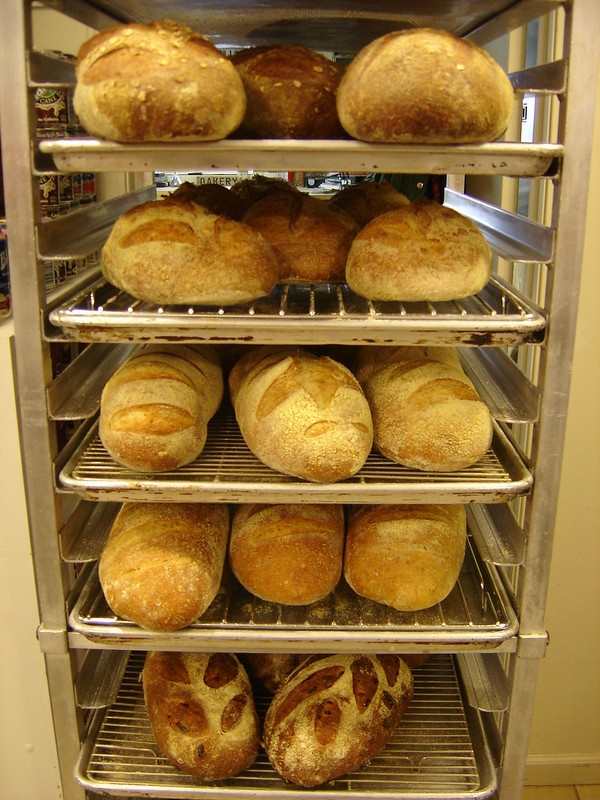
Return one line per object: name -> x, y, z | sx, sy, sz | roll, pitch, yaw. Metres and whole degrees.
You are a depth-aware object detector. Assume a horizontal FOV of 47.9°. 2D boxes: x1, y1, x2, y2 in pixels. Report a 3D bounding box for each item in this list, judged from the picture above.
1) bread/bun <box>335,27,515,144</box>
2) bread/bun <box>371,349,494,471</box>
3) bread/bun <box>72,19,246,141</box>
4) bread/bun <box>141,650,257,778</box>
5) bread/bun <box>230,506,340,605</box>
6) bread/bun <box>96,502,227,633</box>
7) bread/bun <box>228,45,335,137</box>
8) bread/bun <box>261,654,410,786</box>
bread/bun -> 0.172, -0.447, 0.948 | 0.246, 0.134, 0.245 | 9, 29, 14
bread/bun -> 0.220, -0.030, 1.133 | 0.222, 0.095, 0.299 | -3, 40, 13
bread/bun -> -0.185, -0.398, 0.854 | 0.151, 0.067, 0.194 | -1, 34, -7
bread/bun -> -0.180, 0.536, 1.195 | 0.188, 0.085, 0.290 | 8, 22, -24
bread/bun -> -0.016, 0.230, 1.146 | 0.196, 0.075, 0.261 | 6, 28, 5
bread/bun -> -0.212, 0.323, 1.082 | 0.171, 0.108, 0.313 | -1, 22, -5
bread/bun -> -0.014, -0.448, 0.987 | 0.122, 0.052, 0.163 | 0, 49, -2
bread/bun -> 0.056, 0.529, 1.145 | 0.173, 0.082, 0.248 | 17, 29, 35
